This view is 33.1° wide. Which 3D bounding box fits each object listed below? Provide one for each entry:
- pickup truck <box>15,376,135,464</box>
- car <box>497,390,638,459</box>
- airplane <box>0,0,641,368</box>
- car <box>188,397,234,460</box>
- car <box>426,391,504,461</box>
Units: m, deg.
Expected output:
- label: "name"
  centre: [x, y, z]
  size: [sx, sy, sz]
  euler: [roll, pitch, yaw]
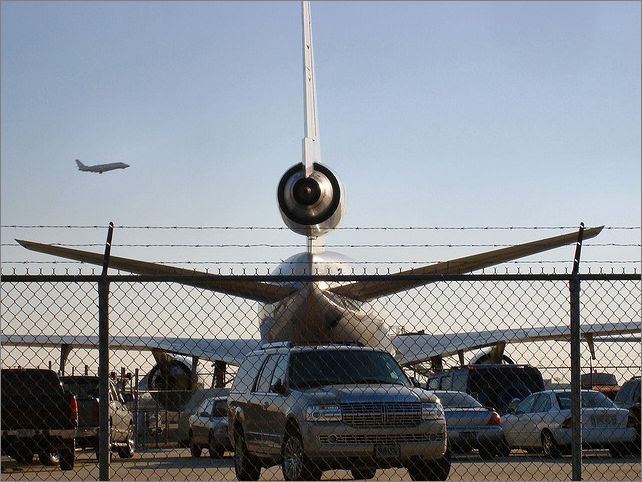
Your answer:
- label: "pickup truck"
  centre: [-5.516, 4.167, 26.028]
  size: [2.023, 1.773, 4.025]
  euler: [0, -4, 1]
- label: "car"
  centre: [5.663, 4.294, 25.758]
  size: [1.797, 1.445, 4.057]
  euler: [-1, -3, -19]
- label: "airplane"
  centre: [0.086, 1.116, 24.193]
  size: [11.324, 5.854, 11.979]
  euler: [-1, -2, 0]
- label: "car"
  centre: [-2.825, 4.682, 27.211]
  size: [1.060, 1.053, 2.182]
  euler: [3, -13, -16]
- label: "car"
  centre: [3.459, 4.311, 25.780]
  size: [1.284, 1.112, 2.931]
  euler: [0, -2, -2]
